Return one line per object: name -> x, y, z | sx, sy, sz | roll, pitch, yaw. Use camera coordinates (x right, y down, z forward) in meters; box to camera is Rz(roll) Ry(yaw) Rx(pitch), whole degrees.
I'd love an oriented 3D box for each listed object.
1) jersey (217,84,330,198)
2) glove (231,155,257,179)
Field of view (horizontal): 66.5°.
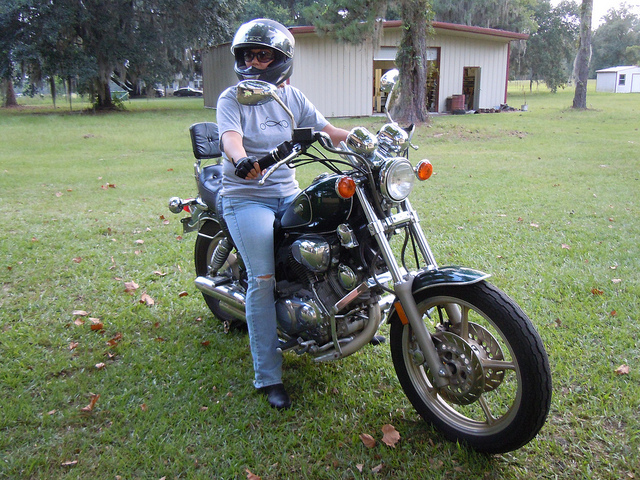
jersey -> -0.460, -0.857, 4.123 | 0.834, 1.142, 0.770 | -2, 21, -29
glove -> -0.540, -0.512, 3.446 | 0.212, 0.138, 0.134 | 16, 22, 41
